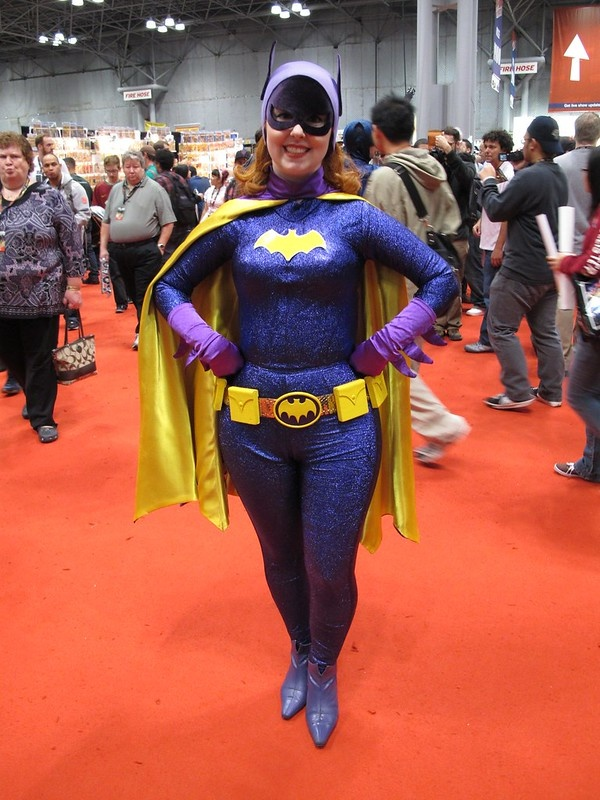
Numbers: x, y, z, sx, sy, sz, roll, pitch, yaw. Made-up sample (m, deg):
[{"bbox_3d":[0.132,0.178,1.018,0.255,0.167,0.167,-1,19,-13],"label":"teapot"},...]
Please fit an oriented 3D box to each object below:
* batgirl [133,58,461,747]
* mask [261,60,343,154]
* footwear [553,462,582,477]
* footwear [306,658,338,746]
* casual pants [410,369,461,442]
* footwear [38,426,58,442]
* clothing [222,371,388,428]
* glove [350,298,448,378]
[{"bbox_3d":[-0.029,0.062,1.556,0.802,1.637,0.429,3,16,19],"label":"batgirl"},{"bbox_3d":[0.017,-0.649,1.341,0.207,0.171,0.173,-6,15,-17],"label":"mask"},{"bbox_3d":[1.422,0.364,3.246,0.046,0.051,0.124,-6,13,-41],"label":"footwear"},{"bbox_3d":[0.067,0.797,1.652,0.079,0.208,0.147,0,-15,9],"label":"footwear"},{"bbox_3d":[0.811,0.041,3.636,0.307,0.511,0.189,3,45,28],"label":"casual pants"},{"bbox_3d":[-1.619,0.214,3.947,0.067,0.067,0.168,-4,11,-23],"label":"footwear"},{"bbox_3d":[-0.008,0.010,1.347,0.313,0.099,0.083,0,15,5],"label":"clothing"},{"bbox_3d":[0.208,-0.147,1.349,0.181,0.176,0.044,25,31,-38],"label":"glove"}]
